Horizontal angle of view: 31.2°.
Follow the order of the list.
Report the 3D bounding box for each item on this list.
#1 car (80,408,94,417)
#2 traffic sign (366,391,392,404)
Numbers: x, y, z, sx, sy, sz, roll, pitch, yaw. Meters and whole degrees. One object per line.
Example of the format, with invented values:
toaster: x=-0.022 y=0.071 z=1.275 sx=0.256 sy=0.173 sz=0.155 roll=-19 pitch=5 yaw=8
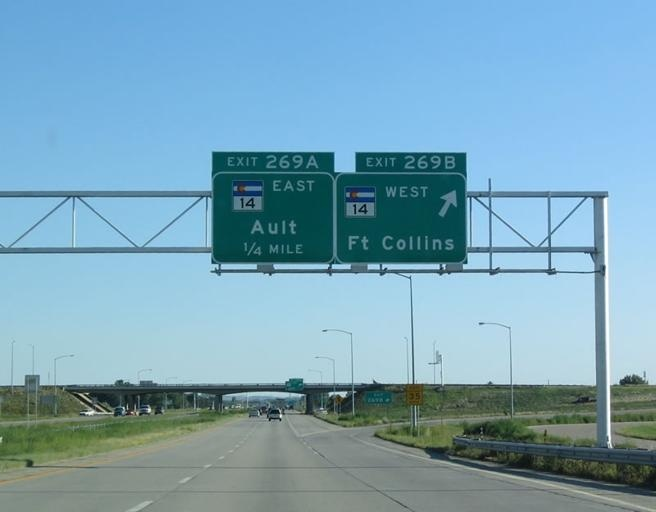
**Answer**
car: x=-33.093 y=21.482 z=162.916 sx=1.364 sy=1.214 sz=2.359 roll=-3 pitch=-18 yaw=20
traffic sign: x=4.688 y=13.067 z=109.641 sx=2.329 sy=1.235 sz=1.532 roll=6 pitch=-16 yaw=-25
